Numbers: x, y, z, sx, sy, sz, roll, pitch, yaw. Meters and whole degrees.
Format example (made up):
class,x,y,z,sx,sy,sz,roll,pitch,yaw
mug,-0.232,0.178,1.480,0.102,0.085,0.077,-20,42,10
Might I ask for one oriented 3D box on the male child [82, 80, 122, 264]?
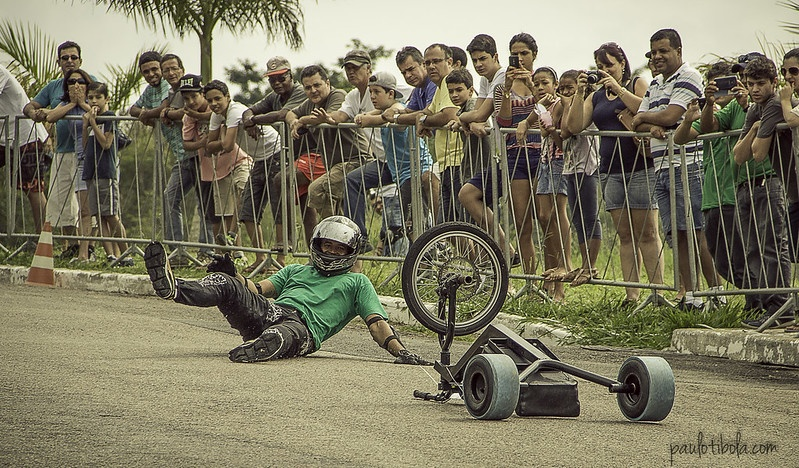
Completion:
class,x,y,z,sx,sy,sz,roll,pitch,yaw
male child,-4.401,-0.952,14.908,0.616,2.660,0.833,-5,11,-39

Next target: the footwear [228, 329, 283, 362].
class,x,y,z,sx,sy,sz,roll,pitch,yaw
footwear,-1.450,1.160,10.641,0.698,0.255,0.299,-15,1,-25

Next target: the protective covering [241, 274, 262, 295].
class,x,y,z,sx,sy,sz,roll,pitch,yaw
protective covering,-1.560,0.551,10.825,0.119,0.094,0.416,-34,-26,16

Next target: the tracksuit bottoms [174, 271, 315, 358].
class,x,y,z,sx,sy,sz,roll,pitch,yaw
tracksuit bottoms,-1.538,0.888,10.587,0.806,0.474,1.252,10,-3,28

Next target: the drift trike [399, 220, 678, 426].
class,x,y,z,sx,sy,sz,roll,pitch,yaw
drift trike,1.060,0.774,9.686,1.934,1.785,2.739,4,-3,-25

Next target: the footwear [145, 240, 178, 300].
class,x,y,z,sx,sy,sz,roll,pitch,yaw
footwear,-2.435,0.393,10.245,0.229,0.668,0.252,-11,-6,18

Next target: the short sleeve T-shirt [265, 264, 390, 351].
class,x,y,z,sx,sy,sz,roll,pitch,yaw
short sleeve T-shirt,-0.829,0.664,10.937,0.994,0.449,1.016,-19,41,-22

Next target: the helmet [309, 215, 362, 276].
class,x,y,z,sx,sy,sz,roll,pitch,yaw
helmet,-0.635,0.139,11.024,0.495,0.571,0.619,4,-1,10

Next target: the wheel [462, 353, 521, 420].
class,x,y,z,sx,sy,sz,roll,pitch,yaw
wheel,0.812,1.384,9.194,0.327,0.610,0.593,7,2,-27

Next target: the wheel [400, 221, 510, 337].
class,x,y,z,sx,sy,sz,roll,pitch,yaw
wheel,0.615,0.494,10.626,1.157,1.221,0.388,-8,-5,-18

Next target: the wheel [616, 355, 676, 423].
class,x,y,z,sx,sy,sz,roll,pitch,yaw
wheel,2.218,1.426,9.139,0.333,0.639,0.529,3,-3,-30
